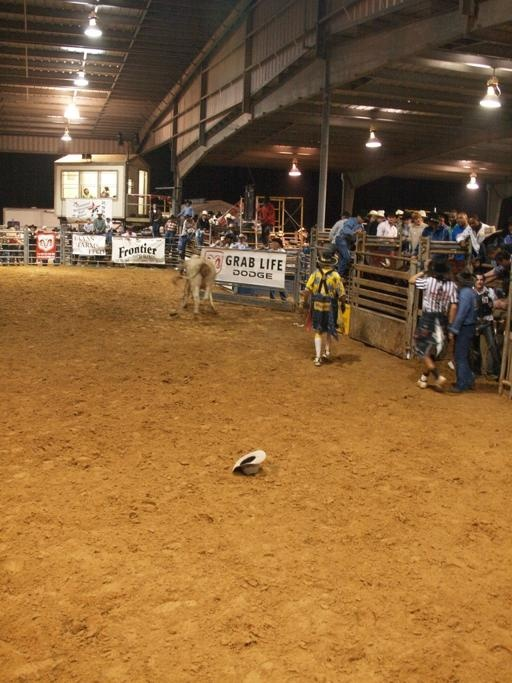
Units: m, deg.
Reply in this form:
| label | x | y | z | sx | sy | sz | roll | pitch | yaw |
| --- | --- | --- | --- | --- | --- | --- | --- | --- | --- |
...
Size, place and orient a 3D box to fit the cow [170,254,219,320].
| label | x | y | z | sx | sy | sz | roll | pitch | yaw |
| --- | --- | --- | --- | --- | --- | --- | --- | --- | --- |
| cow | -1.347 | -1.352 | 12.245 | 0.897 | 1.252 | 1.956 | 2 | 13 | -6 |

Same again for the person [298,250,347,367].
| label | x | y | z | sx | sy | sz | roll | pitch | yaw |
| --- | --- | --- | --- | --- | --- | --- | --- | --- | --- |
| person | 1.008 | -0.529 | 8.115 | 0.646 | 1.671 | 0.528 | 0 | 15 | 2 |

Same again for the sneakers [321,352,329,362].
| label | x | y | z | sx | sy | sz | roll | pitch | yaw |
| --- | --- | --- | --- | --- | --- | --- | --- | --- | --- |
| sneakers | 1.068 | 0.234 | 8.350 | 0.106 | 0.131 | 0.140 | 0 | -2 | 2 |

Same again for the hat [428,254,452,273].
| label | x | y | z | sx | sy | sz | roll | pitch | yaw |
| --- | --- | --- | --- | --- | --- | --- | --- | --- | --- |
| hat | 2.377 | -0.983 | 6.994 | 0.318 | 0.155 | 0.403 | 1 | 10 | 9 |

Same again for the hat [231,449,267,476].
| label | x | y | z | sx | sy | sz | roll | pitch | yaw |
| --- | --- | --- | --- | --- | --- | --- | --- | --- | --- |
| hat | -0.051 | 0.989 | 4.475 | 0.257 | 0.105 | 0.199 | -14 | 22 | 42 |

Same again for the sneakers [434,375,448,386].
| label | x | y | z | sx | sy | sz | roll | pitch | yaw |
| --- | --- | --- | --- | --- | --- | --- | --- | --- | --- |
| sneakers | 2.391 | 0.503 | 7.052 | 0.098 | 0.097 | 0.147 | 11 | -13 | 13 |

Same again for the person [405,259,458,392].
| label | x | y | z | sx | sy | sz | roll | pitch | yaw |
| --- | --- | --- | --- | --- | --- | --- | --- | --- | --- |
| person | 2.264 | -0.257 | 7.129 | 0.623 | 1.671 | 1.040 | 7 | 14 | 14 |

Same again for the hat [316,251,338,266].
| label | x | y | z | sx | sy | sz | roll | pitch | yaw |
| --- | --- | --- | --- | --- | --- | --- | --- | --- | --- |
| hat | 1.038 | -1.199 | 7.897 | 0.268 | 0.241 | 0.430 | 4 | 13 | 5 |
